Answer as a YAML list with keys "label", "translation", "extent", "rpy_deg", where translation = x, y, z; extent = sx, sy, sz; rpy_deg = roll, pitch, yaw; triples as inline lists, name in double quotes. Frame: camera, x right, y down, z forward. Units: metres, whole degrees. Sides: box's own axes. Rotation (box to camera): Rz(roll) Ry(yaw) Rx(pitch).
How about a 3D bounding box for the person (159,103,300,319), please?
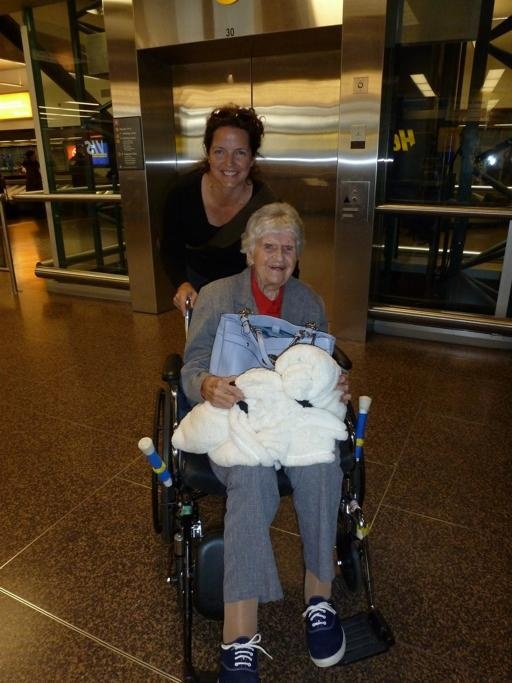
- label: "person"
  translation: [-0.133, -0.512, 2.388]
  extent: [0.567, 0.916, 0.644]
  rpy_deg: [-5, 29, -13]

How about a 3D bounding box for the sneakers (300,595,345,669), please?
- label: "sneakers"
  translation: [0.181, 0.764, 1.397]
  extent: [0.107, 0.138, 0.113]
  rpy_deg: [-3, 23, -6]

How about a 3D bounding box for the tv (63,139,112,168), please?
- label: "tv"
  translation: [-1.654, -1.827, 5.097]
  extent: [0.424, 0.376, 0.251]
  rpy_deg: [14, 27, 31]

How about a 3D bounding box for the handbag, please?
- label: "handbag"
  translation: [0.038, 0.050, 1.628]
  extent: [0.351, 0.246, 0.124]
  rpy_deg: [9, 9, -16]
